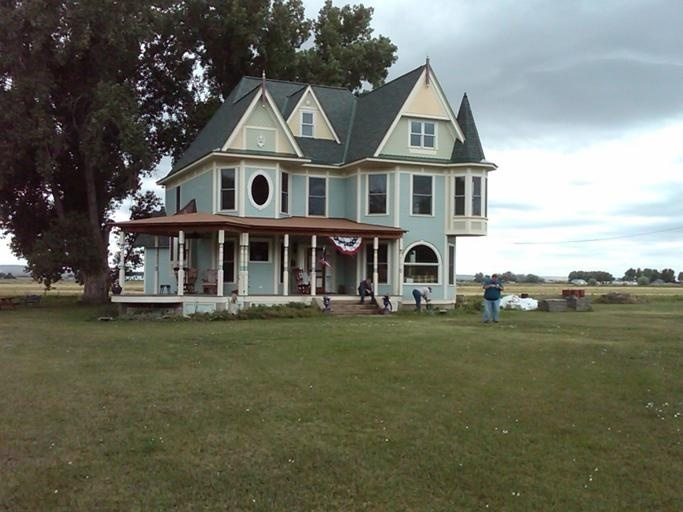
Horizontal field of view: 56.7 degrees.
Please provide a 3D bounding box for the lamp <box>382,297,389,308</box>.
[{"bbox_3d":[2.177,2.182,30.737,0.293,0.613,0.447,-1,-4,4],"label":"lamp"}]

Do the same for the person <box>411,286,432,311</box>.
[{"bbox_3d":[4.158,2.107,32.703,1.209,1.668,0.742,-2,8,-17],"label":"person"}]

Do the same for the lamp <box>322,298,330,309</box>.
[{"bbox_3d":[-0.720,2.204,29.669,0.334,0.470,0.446,1,-5,-11],"label":"lamp"}]

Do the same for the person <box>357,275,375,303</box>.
[{"bbox_3d":[1.243,1.746,31.458,0.827,1.196,0.988,0,-4,-8],"label":"person"}]

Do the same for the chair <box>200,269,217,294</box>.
[{"bbox_3d":[-6.521,1.251,30.608,0.954,1.424,1.170,0,-1,8],"label":"chair"}]
